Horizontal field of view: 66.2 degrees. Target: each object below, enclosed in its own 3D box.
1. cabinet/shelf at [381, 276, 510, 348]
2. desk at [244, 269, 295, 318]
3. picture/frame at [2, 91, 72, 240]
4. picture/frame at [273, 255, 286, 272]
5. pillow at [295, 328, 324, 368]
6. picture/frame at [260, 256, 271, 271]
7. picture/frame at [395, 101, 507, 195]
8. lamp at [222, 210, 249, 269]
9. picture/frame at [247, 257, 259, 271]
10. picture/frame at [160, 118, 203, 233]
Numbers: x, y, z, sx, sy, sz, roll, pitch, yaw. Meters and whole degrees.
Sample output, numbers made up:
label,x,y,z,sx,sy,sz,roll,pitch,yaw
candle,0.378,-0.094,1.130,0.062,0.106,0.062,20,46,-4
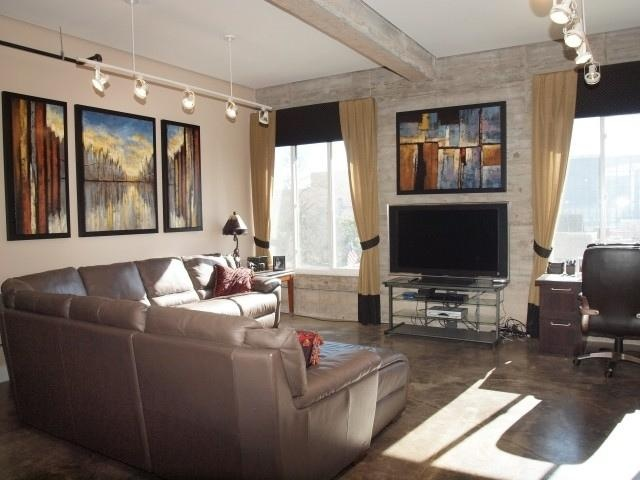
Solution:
label,x,y,z,sx,sy,sz,roll,pitch,yaw
cabinet/shelf,1.551,0.864,6.137,1.300,0.694,0.503,1,3,28
desk,-0.643,0.761,7.115,0.601,0.598,0.611,-1,0,38
picture/frame,-2.999,-0.770,5.220,0.102,1.522,0.719,5,10,39
picture/frame,-0.603,0.353,7.143,0.194,0.227,0.022,1,-5,-3
pillow,-0.081,0.751,3.495,0.217,0.258,0.101,15,-33,-14
picture/frame,-0.769,0.341,7.047,0.163,0.256,0.167,-2,3,7
picture/frame,1.736,-1.189,6.303,1.248,1.030,0.048,0,1,26
lamp,-1.206,-0.029,7.016,0.380,0.774,0.389,8,19,21
picture/frame,-0.943,0.333,6.926,0.210,0.213,0.158,1,-8,-2
picture/frame,-1.871,-0.856,6.639,0.158,1.483,0.731,4,9,31
